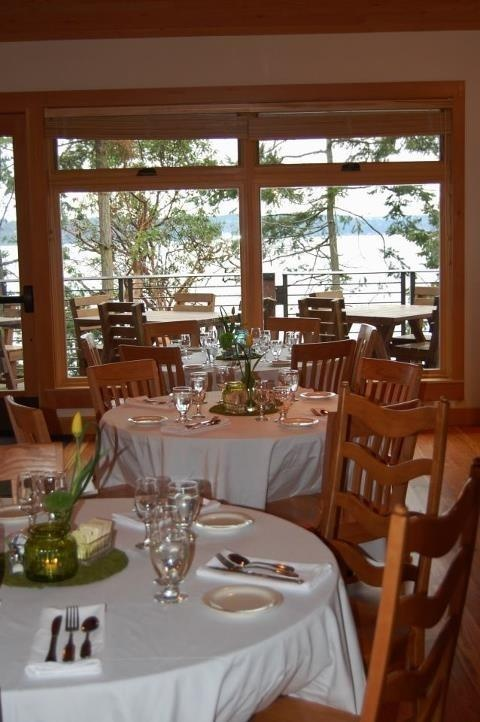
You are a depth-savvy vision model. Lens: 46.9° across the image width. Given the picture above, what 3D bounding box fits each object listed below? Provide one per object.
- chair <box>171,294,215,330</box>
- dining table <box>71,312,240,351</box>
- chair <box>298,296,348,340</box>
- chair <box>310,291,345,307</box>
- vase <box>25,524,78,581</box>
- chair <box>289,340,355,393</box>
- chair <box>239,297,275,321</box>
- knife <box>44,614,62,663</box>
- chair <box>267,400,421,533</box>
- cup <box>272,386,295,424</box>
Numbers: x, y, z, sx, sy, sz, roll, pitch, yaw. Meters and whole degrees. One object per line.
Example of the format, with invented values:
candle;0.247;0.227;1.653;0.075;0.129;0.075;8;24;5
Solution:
chair;-0.453;-0.528;5.418;0.234;0.391;0.275;3;7;7
dining table;-0.580;-0.321;4.841;0.831;0.413;0.543;2;9;10
chair;0.826;-0.476;5.516;0.372;0.580;0.460;8;24;25
chair;0.854;-0.625;5.372;0.216;0.256;0.195;5;8;40
vase;-0.338;0.339;0.986;0.087;0.085;0.087;6;6;38
chair;0.471;0.033;3.188;0.214;0.375;0.243;-5;32;-7
chair;0.162;-0.454;5.487;0.376;0.360;0.208;-1;2;-11
knife;-0.241;0.364;0.721;0.015;0.073;0.008;10;17;-18
chair;0.314;0.345;1.786;0.329;0.576;0.351;-10;29;-24
cup;0.180;0.186;2.354;0.120;0.204;0.137;0;4;1
